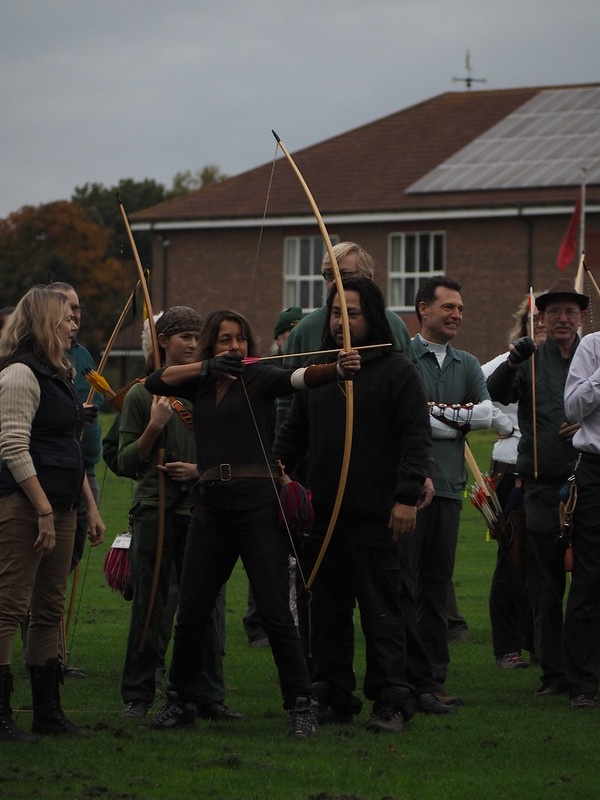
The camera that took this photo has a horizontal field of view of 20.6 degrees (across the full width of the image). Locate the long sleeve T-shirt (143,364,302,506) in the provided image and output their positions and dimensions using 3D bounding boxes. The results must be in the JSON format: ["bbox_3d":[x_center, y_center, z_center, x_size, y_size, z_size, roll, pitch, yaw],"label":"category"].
[{"bbox_3d":[-0.339,0.161,7.186,0.655,0.410,0.197,-3,-10,12],"label":"long sleeve T-shirt"}]

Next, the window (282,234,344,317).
[{"bbox_3d":[0.370,-2.024,27.664,1.306,1.635,0.062,-3,-32,6],"label":"window"}]

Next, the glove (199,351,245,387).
[{"bbox_3d":[-0.331,-0.127,7.033,0.185,0.123,0.273,0,2,-3],"label":"glove"}]

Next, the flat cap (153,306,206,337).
[{"bbox_3d":[-0.552,-0.350,7.605,0.190,0.126,0.143,-4,-1,22],"label":"flat cap"}]

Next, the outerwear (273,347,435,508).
[{"bbox_3d":[0.233,0.139,7.226,0.724,0.639,0.363,1,-11,34],"label":"outerwear"}]

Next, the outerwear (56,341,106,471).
[{"bbox_3d":[-1.116,0.050,8.664,0.206,0.626,0.172,1,-9,3],"label":"outerwear"}]

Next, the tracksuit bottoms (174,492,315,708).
[{"bbox_3d":[-0.251,0.823,7.084,0.616,0.968,0.248,1,3,2],"label":"tracksuit bottoms"}]

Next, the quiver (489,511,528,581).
[{"bbox_3d":[1.087,0.735,8.517,0.116,0.297,0.218,2,-32,-30],"label":"quiver"}]

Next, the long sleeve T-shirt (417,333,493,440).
[{"bbox_3d":[0.775,-0.058,8.030,0.489,0.456,0.187,9,-27,-35],"label":"long sleeve T-shirt"}]

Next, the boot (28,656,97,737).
[{"bbox_3d":[-1.019,1.265,7.036,0.250,0.318,0.146,-4,0,10],"label":"boot"}]

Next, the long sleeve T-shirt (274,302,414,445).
[{"bbox_3d":[0.204,-0.090,7.299,0.710,0.675,0.277,1,-9,-3],"label":"long sleeve T-shirt"}]

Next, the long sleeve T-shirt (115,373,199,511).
[{"bbox_3d":[-0.614,0.190,7.626,0.463,0.562,0.338,4,-10,-42],"label":"long sleeve T-shirt"}]

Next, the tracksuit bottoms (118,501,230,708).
[{"bbox_3d":[-0.568,0.905,7.427,0.442,0.960,0.290,-8,-25,41],"label":"tracksuit bottoms"}]

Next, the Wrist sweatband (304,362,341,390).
[{"bbox_3d":[0.100,-0.097,6.820,0.079,0.106,0.211,-1,3,-40],"label":"Wrist sweatband"}]
